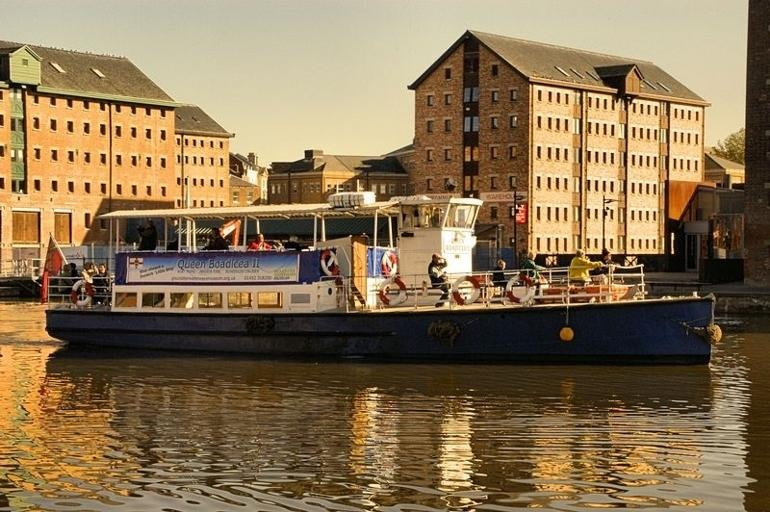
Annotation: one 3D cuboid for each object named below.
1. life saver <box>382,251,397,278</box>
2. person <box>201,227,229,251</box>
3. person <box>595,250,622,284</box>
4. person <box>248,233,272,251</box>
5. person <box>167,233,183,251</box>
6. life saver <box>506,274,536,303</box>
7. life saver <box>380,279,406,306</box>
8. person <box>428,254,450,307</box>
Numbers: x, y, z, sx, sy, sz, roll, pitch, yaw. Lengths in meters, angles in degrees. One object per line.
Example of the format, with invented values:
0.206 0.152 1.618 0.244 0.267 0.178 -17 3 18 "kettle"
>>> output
0.176 0.310 53.179 0.352 0.785 0.791 1 -2 20 "life saver"
-5.954 -0.589 53.482 0.920 1.063 0.515 3 16 13 "person"
7.447 0.357 51.148 0.726 1.210 2.247 -3 -4 8 "person"
-4.401 -0.464 53.886 0.285 0.745 0.730 -2 5 31 "person"
-7.476 -0.410 54.755 0.305 0.391 1.128 14 -16 -23 "person"
4.601 1.114 50.546 1.038 0.980 0.703 -1 -4 -9 "life saver"
0.313 1.208 51.653 0.948 0.949 0.486 -2 -5 1 "life saver"
1.870 0.842 51.447 0.702 1.783 1.057 -2 -5 2 "person"
